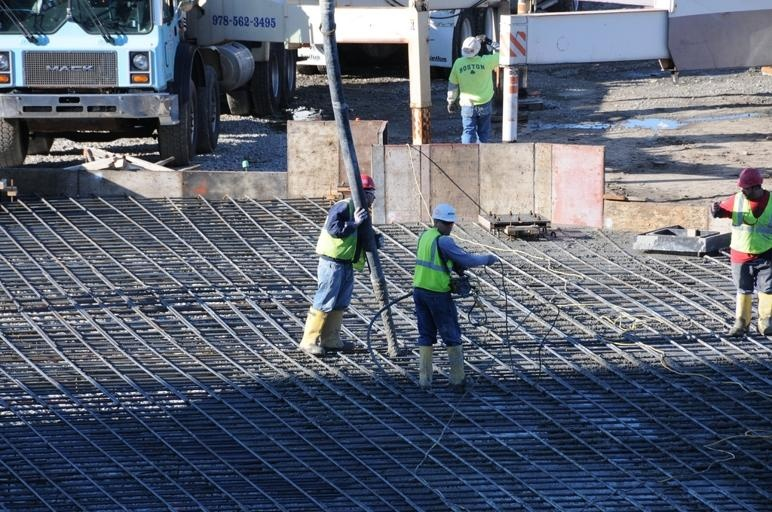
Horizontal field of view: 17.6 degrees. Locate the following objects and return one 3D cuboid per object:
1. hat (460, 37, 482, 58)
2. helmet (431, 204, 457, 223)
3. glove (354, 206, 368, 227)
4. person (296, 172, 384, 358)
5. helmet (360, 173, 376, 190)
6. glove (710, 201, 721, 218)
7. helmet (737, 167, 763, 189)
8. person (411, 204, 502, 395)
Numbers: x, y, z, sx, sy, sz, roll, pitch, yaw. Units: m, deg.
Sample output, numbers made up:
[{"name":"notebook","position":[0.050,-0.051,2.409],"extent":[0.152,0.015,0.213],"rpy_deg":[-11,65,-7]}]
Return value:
[{"name":"hat","position":[1.176,-2.906,35.041],"extent":[0.227,0.153,0.329],"rpy_deg":[5,23,12]},{"name":"helmet","position":[0.661,-0.537,29.863],"extent":[0.212,0.133,0.269],"rpy_deg":[-4,21,-30]},{"name":"glove","position":[-0.333,-0.482,30.091],"extent":[0.162,0.192,0.065],"rpy_deg":[2,13,6]},{"name":"person","position":[-0.637,0.257,30.454],"extent":[0.912,1.863,0.429],"rpy_deg":[-1,14,-1]},{"name":"helmet","position":[-0.272,-0.905,30.336],"extent":[0.232,0.086,0.176],"rpy_deg":[13,-2,8]},{"name":"glove","position":[4.032,-0.569,30.732],"extent":[0.154,0.189,0.068],"rpy_deg":[3,12,8]},{"name":"helmet","position":[4.441,-0.935,30.554],"extent":[0.266,0.242,0.215],"rpy_deg":[1,14,6]},{"name":"person","position":[0.698,0.492,29.903],"extent":[0.788,2.141,0.434],"rpy_deg":[-1,14,-1]}]
